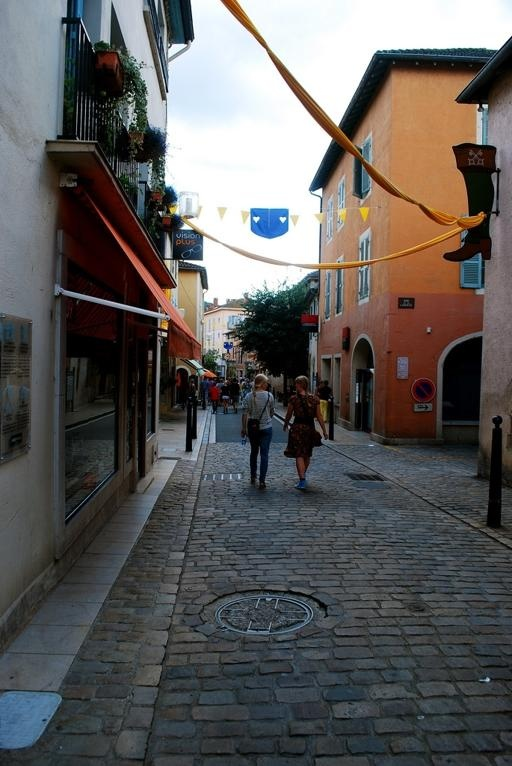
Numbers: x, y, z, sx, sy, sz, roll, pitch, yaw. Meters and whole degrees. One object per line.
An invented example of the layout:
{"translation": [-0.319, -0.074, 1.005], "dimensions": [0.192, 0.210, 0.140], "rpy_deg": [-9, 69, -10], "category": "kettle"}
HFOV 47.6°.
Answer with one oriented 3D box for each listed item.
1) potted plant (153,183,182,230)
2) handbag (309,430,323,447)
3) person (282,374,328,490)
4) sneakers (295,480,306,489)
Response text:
{"translation": [-1.570, -3.077, 10.128], "dimensions": [0.639, 0.931, 0.584], "rpy_deg": [0, 0, -7], "category": "potted plant"}
{"translation": [0.936, 0.830, 8.590], "dimensions": [0.182, 0.296, 0.274], "rpy_deg": [2, -16, -4], "category": "handbag"}
{"translation": [0.720, 0.720, 8.788], "dimensions": [0.586, 1.681, 1.384], "rpy_deg": [0, -2, 5], "category": "person"}
{"translation": [0.664, 1.486, 8.494], "dimensions": [0.076, 0.144, 0.196], "rpy_deg": [2, 3, -3], "category": "sneakers"}
